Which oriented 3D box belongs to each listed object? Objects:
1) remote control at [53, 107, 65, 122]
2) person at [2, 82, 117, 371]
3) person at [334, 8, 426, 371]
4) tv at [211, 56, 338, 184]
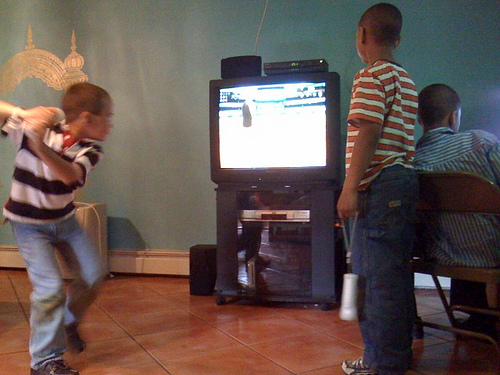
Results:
[{"bbox_3d":[-0.937,-0.362,2.141,0.037,0.070,0.204,-3,4,-22],"label":"remote control"},{"bbox_3d":[-0.999,0.209,2.233,0.439,1.497,0.481,1,5,25],"label":"person"},{"bbox_3d":[0.684,0.022,2.237,0.394,1.824,0.576,1,5,21],"label":"person"},{"bbox_3d":[0.194,-0.469,3.226,1.028,0.864,0.537,1,1,10],"label":"tv"}]
